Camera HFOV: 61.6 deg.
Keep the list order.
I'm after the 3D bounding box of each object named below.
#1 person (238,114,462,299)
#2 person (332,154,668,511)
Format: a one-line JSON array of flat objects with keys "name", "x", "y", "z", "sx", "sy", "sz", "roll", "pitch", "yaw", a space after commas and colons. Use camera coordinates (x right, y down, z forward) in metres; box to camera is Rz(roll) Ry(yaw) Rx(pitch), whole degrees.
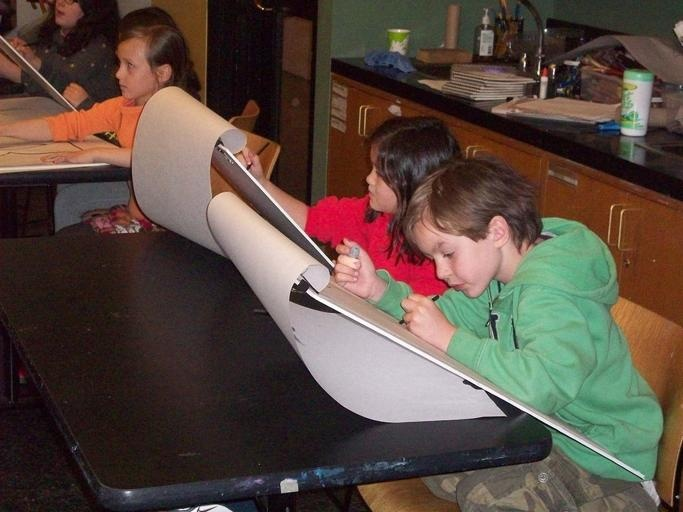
[{"name": "person", "x": 0.045, "y": -0.169, "z": 1.682, "sx": 0.552, "sy": 0.309, "sz": 0.724, "roll": -21, "pitch": 36, "yaw": -32}, {"name": "person", "x": 0.363, "y": 0.083, "z": 1.445, "sx": 0.688, "sy": 1.083, "sz": 0.601, "roll": -5, "pitch": 10, "yaw": 1}]
